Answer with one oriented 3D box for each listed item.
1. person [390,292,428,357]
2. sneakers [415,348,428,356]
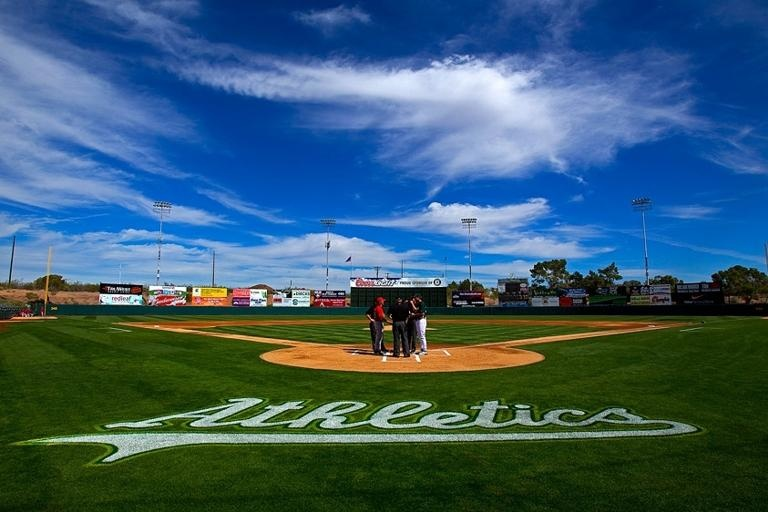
[{"bbox_3d":[0.776,2.522,19.732,1.121,2.015,1.244,-1,2,2],"label":"person"},{"bbox_3d":[1.313,3.496,20.257,0.589,0.159,0.156,2,-13,2],"label":"sneakers"}]
